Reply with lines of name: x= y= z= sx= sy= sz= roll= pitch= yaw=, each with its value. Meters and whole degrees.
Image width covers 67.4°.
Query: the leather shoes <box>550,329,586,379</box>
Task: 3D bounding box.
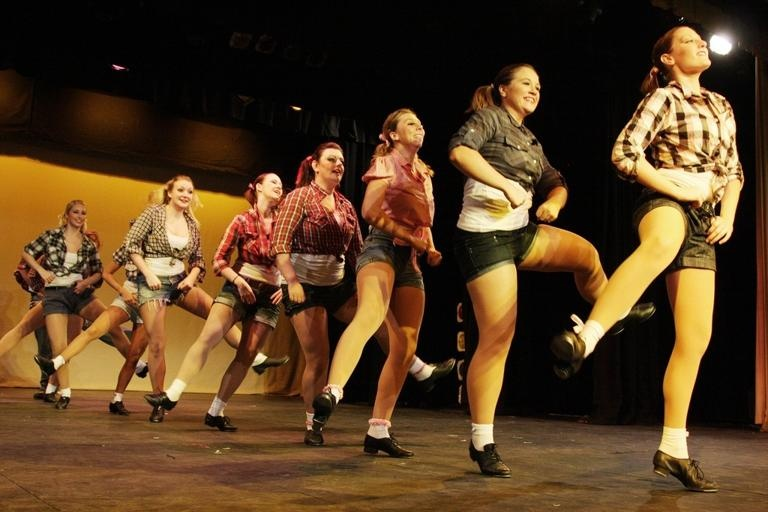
leather shoes: x=0.817 y=0.436 z=2.598 sx=0.164 sy=0.207 sz=0.213 roll=-5 pitch=-13 yaw=13

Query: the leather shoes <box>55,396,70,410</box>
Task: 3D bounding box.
leather shoes: x=-3.099 y=1.408 z=5.525 sx=0.105 sy=0.080 sz=0.209 roll=1 pitch=-7 yaw=-4

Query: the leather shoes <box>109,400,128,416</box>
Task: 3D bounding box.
leather shoes: x=-2.449 y=1.412 z=5.336 sx=0.097 sy=0.115 sz=0.279 roll=5 pitch=-9 yaw=-45

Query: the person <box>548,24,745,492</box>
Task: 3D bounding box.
person: x=1.335 y=0.085 z=2.839 sx=1.067 sy=2.090 sz=0.344 roll=10 pitch=-5 yaw=-33

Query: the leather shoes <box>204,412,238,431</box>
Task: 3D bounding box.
leather shoes: x=-1.282 y=1.297 z=4.520 sx=0.263 sy=0.108 sz=0.117 roll=19 pitch=-3 yaw=-11

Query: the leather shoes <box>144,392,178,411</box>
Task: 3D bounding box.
leather shoes: x=-1.755 y=1.158 z=4.664 sx=0.347 sy=0.119 sz=0.142 roll=11 pitch=-42 yaw=-30

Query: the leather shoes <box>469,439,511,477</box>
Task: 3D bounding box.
leather shoes: x=0.558 y=1.074 z=3.076 sx=0.109 sy=0.129 sz=0.290 roll=1 pitch=-1 yaw=-30

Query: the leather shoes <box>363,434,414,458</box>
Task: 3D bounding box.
leather shoes: x=0.003 y=1.182 z=3.604 sx=0.341 sy=0.138 sz=0.119 roll=2 pitch=-11 yaw=9

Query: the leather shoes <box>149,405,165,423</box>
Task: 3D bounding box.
leather shoes: x=-1.918 y=1.347 z=4.898 sx=0.103 sy=0.125 sz=0.327 roll=4 pitch=-19 yaw=-12
